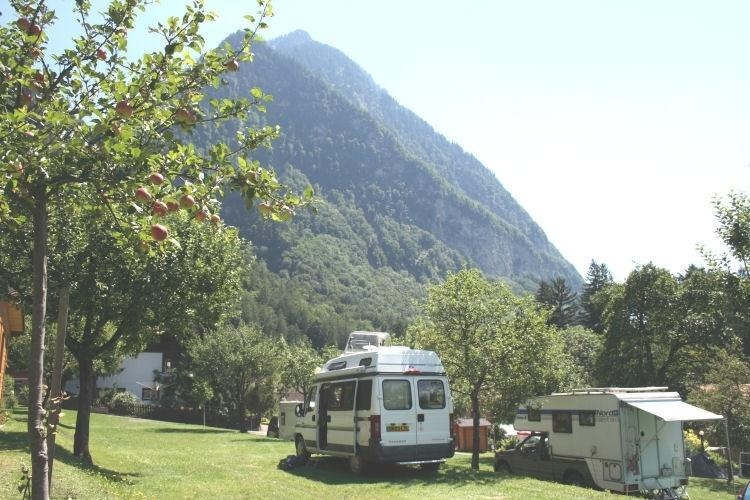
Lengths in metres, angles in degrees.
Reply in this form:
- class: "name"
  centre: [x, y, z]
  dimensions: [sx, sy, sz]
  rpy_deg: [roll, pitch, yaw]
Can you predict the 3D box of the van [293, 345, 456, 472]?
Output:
- class: "van"
  centre: [-0.130, 5.878, 25.627]
  dimensions: [5.658, 4.450, 2.525]
  rpy_deg: [-5, -14, 33]
